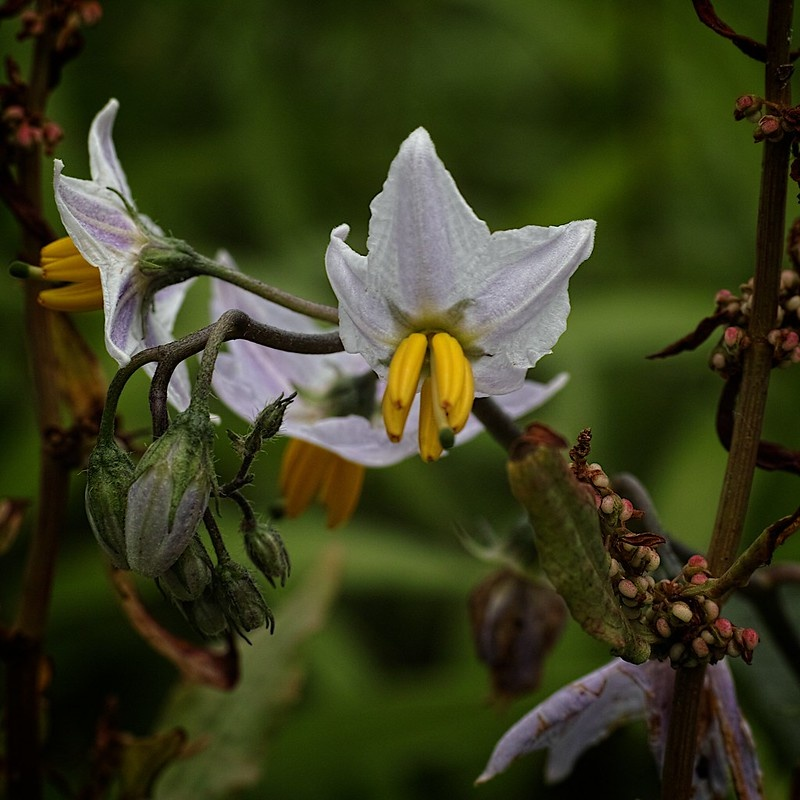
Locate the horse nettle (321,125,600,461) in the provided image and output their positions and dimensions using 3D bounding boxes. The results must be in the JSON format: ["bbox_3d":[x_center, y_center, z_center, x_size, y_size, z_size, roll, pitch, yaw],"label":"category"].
[{"bbox_3d":[0.034,-0.090,0.893,0.220,0.120,0.297,21,-23,8],"label":"horse nettle"}]

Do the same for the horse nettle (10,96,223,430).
[{"bbox_3d":[-0.222,-0.105,0.993,0.083,0.235,0.270,-19,-19,7],"label":"horse nettle"}]

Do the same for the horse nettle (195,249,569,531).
[{"bbox_3d":[0.019,-0.095,1.355,0.438,0.369,0.243,-13,-83,-7],"label":"horse nettle"}]
